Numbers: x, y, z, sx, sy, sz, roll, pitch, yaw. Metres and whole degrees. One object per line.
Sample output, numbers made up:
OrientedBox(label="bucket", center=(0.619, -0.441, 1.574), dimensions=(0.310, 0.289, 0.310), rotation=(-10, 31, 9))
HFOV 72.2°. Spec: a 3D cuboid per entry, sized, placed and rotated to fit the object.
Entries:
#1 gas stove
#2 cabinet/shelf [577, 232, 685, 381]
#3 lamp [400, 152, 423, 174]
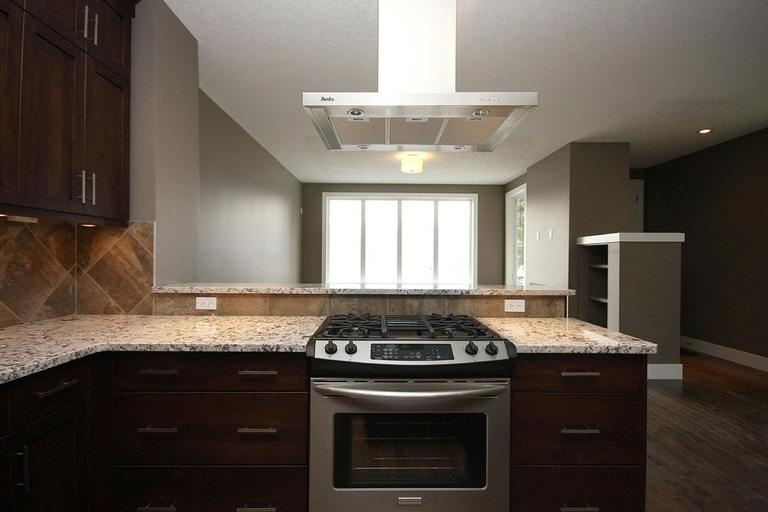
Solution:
OrientedBox(label="gas stove", center=(0.147, 0.519, 3.117), dimensions=(1.167, 0.287, 0.449), rotation=(0, -1, -2))
OrientedBox(label="cabinet/shelf", center=(2.631, 0.497, 5.650), dimensions=(0.874, 1.487, 0.968), rotation=(0, -1, 2))
OrientedBox(label="lamp", center=(0.359, -1.210, 6.786), dimensions=(0.286, 0.228, 0.224), rotation=(0, -1, 5))
